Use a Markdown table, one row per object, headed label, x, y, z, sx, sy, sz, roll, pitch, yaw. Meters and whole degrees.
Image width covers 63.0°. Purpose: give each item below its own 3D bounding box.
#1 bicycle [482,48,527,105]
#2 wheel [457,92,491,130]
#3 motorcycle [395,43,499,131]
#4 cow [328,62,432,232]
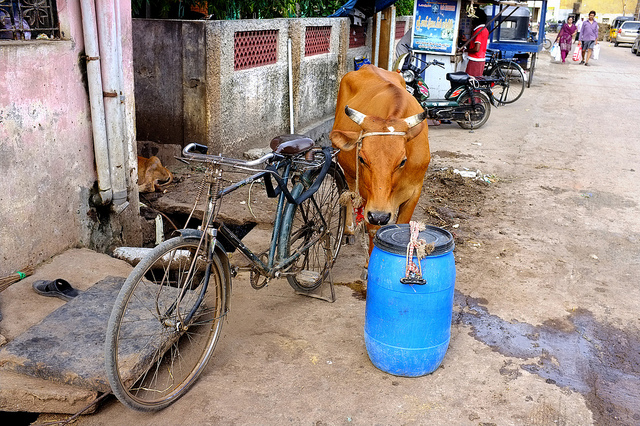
| label | x | y | z | sx | sy | sz | roll | pitch | yaw |
| --- | --- | --- | --- | --- | --- | --- | --- | --- | --- |
| bicycle | 5.254 | -3.997 | 14.967 | 1.125 | 1.208 | 4.457 | 10 | 24 | 17 |
| wheel | 3.293 | -2.183 | 11.134 | 0.430 | 0.748 | 0.765 | 20 | 30 | 35 |
| motorcycle | 2.629 | -2.592 | 11.226 | 2.492 | 1.566 | 1.062 | 8 | 13 | 36 |
| cow | 0.593 | -0.807 | 5.576 | 0.936 | 1.307 | 2.340 | -5 | 36 | 2 |
